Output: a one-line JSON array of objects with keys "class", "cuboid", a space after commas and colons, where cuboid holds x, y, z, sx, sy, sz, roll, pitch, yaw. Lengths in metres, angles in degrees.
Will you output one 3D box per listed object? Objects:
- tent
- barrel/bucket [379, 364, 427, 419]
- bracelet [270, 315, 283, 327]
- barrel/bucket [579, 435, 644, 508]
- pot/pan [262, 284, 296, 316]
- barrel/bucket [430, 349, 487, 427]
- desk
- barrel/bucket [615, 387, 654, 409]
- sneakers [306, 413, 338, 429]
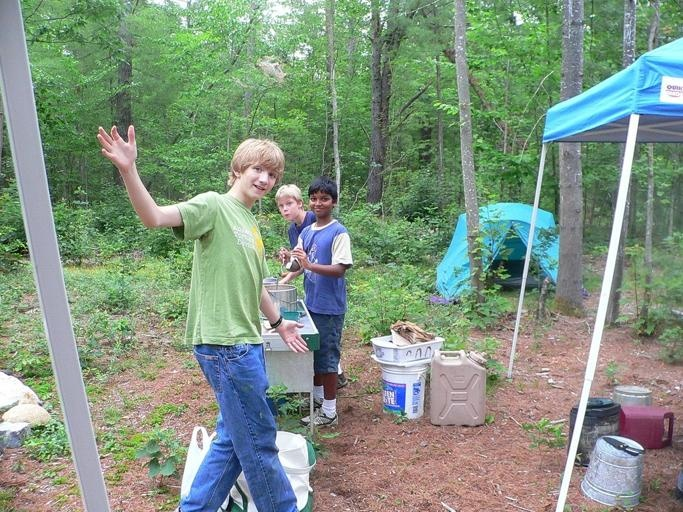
[{"class": "tent", "cuboid": [2.631, -0.157, 9.932, 1.765, 1.088, 2.178, -2, 3, 5]}, {"class": "barrel/bucket", "cuboid": [0.635, 1.256, 6.046, 0.526, 0.528, 0.496, 1, 2, 0]}, {"class": "bracelet", "cuboid": [-0.489, 0.500, 4.579, 0.076, 0.089, 0.037, -7, -26, 40]}, {"class": "barrel/bucket", "cuboid": [2.102, 1.692, 4.937, 0.456, 0.512, 0.463, 12, -1, 0]}, {"class": "pot/pan", "cuboid": [-0.559, 0.375, 5.475, 0.268, 0.283, 0.253, -2, 6, -1]}, {"class": "barrel/bucket", "cuboid": [1.091, 1.264, 5.781, 0.649, 0.861, 0.289, 1, 4, 0]}, {"class": "desk", "cuboid": [-0.450, 0.924, 5.709, 0.764, 1.068, 1.493, -3, 11, -8]}, {"class": "barrel/bucket", "cuboid": [2.565, 1.238, 5.479, 0.206, 0.209, 0.210, 0, 0, 0]}, {"class": "sneakers", "cuboid": [-0.194, 1.525, 5.667, 0.351, 0.148, 0.125, 4, -7, -10]}]
